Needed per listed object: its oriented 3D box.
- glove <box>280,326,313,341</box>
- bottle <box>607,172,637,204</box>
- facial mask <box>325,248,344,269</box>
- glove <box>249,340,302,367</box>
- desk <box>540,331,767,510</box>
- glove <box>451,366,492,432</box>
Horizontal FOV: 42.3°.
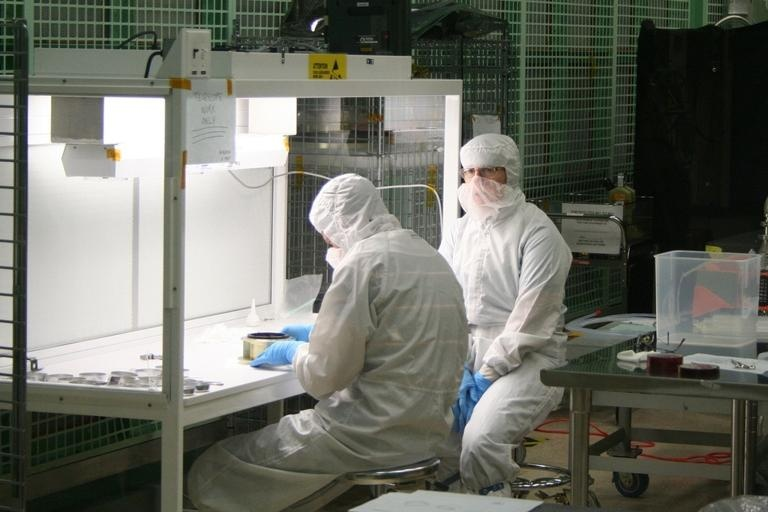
[{"bbox_3d":[-0.425,0.367,4.831,0.135,0.055,0.099,-3,1,-14],"label":"glove"},{"bbox_3d":[1.670,-0.472,6.993,0.211,0.388,0.223,-1,4,0],"label":"bottle"},{"bbox_3d":[-0.233,0.009,4.744,0.085,0.103,0.041,10,11,19],"label":"facial mask"},{"bbox_3d":[-0.481,0.449,4.521,0.119,0.078,0.214,-13,-9,-22],"label":"glove"},{"bbox_3d":[1.226,0.662,4.397,0.842,0.545,0.862,1,3,20],"label":"desk"},{"bbox_3d":[0.417,0.724,4.979,0.122,0.284,0.280,12,5,-41],"label":"glove"}]
